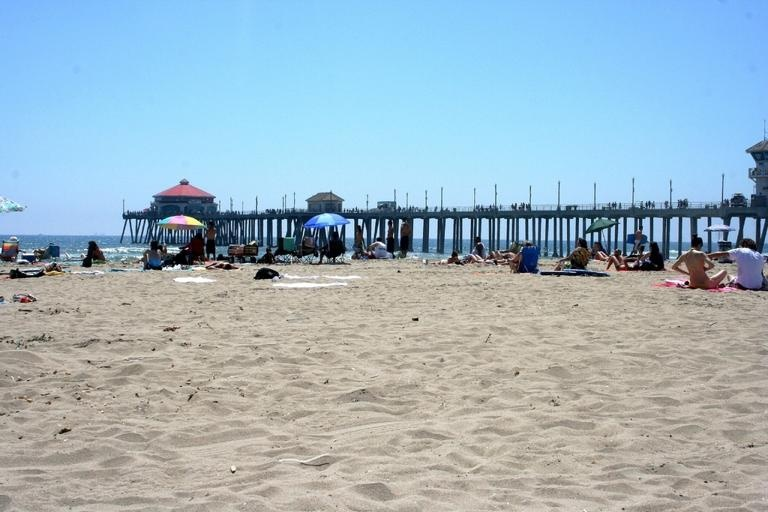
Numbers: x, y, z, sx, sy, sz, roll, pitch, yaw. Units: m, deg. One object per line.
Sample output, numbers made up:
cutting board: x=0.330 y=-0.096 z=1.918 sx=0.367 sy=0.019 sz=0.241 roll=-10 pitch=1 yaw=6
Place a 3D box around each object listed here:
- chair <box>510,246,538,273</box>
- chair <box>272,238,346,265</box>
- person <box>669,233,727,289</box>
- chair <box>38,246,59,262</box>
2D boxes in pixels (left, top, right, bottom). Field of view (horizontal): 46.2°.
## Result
chair: x=2.679 y=0.059 z=17.081 sx=0.505 sy=0.589 sz=0.826 roll=1 pitch=13 yaw=8
chair: x=-1.714 y=-0.103 z=23.213 sx=0.889 sy=0.480 sz=1.498 roll=1 pitch=3 yaw=22
person: x=4.821 y=0.148 z=13.742 sx=0.767 sy=0.853 sz=0.595 roll=-2 pitch=-8 yaw=24
chair: x=-9.256 y=-0.096 z=24.845 sx=0.350 sy=0.428 sz=1.141 roll=0 pitch=-1 yaw=-18
